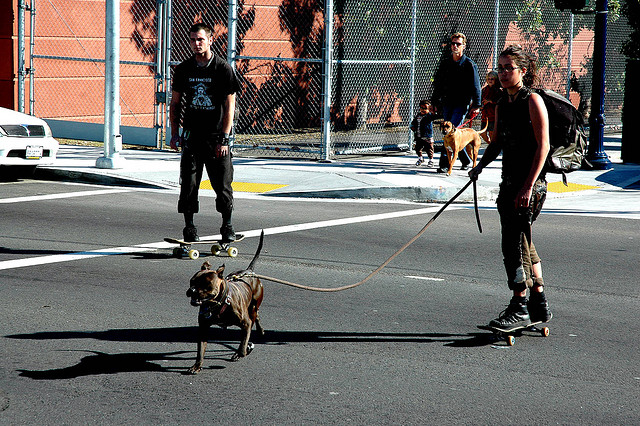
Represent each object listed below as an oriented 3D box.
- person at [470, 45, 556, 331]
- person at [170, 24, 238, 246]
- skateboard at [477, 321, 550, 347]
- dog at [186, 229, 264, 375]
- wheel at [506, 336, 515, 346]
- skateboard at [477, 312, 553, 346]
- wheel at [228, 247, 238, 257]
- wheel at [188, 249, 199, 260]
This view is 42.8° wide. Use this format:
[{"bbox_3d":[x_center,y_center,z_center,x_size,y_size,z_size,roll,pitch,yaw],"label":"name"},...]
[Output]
[{"bbox_3d":[1.929,-0.169,7.852,0.850,2.719,0.833,6,15,15],"label":"person"},{"bbox_3d":[-1.453,-0.971,10.307,0.893,2.663,0.626,2,14,1],"label":"person"},{"bbox_3d":[1.915,1.155,7.929,0.531,0.136,0.279,0,-2,-28],"label":"skateboard"},{"bbox_3d":[-0.813,0.867,7.325,0.443,0.930,0.911,9,16,24],"label":"dog"},{"bbox_3d":[1.821,1.213,7.827,0.083,0.096,0.057,2,14,-1],"label":"wheel"},{"bbox_3d":[1.908,1.125,7.940,0.515,0.127,0.287,-2,2,-30],"label":"skateboard"},{"bbox_3d":[-1.083,0.493,10.220,0.113,0.097,0.108,8,-12,2],"label":"wheel"},{"bbox_3d":[-1.539,0.505,10.011,0.128,0.131,0.091,-20,8,-14],"label":"wheel"}]
